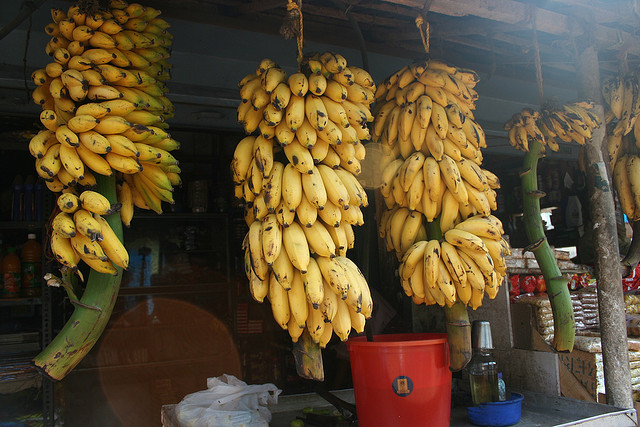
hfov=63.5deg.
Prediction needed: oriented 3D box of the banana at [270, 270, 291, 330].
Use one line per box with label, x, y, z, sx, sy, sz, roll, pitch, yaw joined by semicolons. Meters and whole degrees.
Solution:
banana;-0.190;0.408;2.490;0.084;0.273;0.078;-17;-11;38

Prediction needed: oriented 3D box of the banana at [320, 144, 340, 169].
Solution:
banana;0.050;-0.276;2.550;0.065;0.122;0.040;-1;-21;8

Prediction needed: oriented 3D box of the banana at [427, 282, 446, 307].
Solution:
banana;0.606;0.412;2.667;0.050;0.135;0.043;-36;18;-34

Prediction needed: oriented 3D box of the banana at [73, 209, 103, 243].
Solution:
banana;-1.130;0.048;2.561;0.087;0.195;0.072;-34;-15;13

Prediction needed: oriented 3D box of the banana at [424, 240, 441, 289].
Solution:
banana;0.568;0.249;2.610;0.067;0.243;0.079;-1;-27;12

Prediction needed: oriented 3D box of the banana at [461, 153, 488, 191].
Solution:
banana;0.858;-0.218;2.810;0.082;0.241;0.067;-26;-20;-23

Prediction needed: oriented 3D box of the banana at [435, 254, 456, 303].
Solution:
banana;0.632;0.318;2.664;0.069;0.244;0.084;-13;-14;-15

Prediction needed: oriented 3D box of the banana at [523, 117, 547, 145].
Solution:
banana;1.244;-0.492;3.013;0.062;0.230;0.073;-22;1;-30

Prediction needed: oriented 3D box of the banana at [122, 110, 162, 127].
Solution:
banana;-0.917;-0.495;2.667;0.246;0.068;0.087;6;18;-14

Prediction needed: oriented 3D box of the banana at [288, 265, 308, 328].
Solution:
banana;-0.106;0.392;2.480;0.075;0.288;0.094;-16;-15;34

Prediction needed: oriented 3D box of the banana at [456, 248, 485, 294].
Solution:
banana;0.787;0.298;2.693;0.076;0.262;0.085;-24;-11;-31

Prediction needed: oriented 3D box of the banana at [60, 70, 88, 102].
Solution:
banana;-1.213;-0.638;2.560;0.092;0.168;0.092;-16;32;-23

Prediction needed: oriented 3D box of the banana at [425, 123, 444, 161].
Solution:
banana;0.606;-0.378;2.746;0.065;0.206;0.065;-17;-32;6

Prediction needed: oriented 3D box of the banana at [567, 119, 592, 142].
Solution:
banana;1.483;-0.485;2.960;0.042;0.162;0.034;-55;-10;20

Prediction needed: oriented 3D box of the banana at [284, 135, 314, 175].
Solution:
banana;-0.098;-0.272;2.496;0.070;0.234;0.078;-20;-13;0

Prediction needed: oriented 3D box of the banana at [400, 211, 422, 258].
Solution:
banana;0.485;0.091;2.810;0.075;0.268;0.087;12;-20;7

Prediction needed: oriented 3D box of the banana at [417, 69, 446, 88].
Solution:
banana;0.595;-0.724;2.761;0.137;0.078;0.046;12;-19;18

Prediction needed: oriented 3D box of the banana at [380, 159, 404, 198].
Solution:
banana;0.423;-0.181;2.850;0.065;0.087;0.197;-45;-37;-1

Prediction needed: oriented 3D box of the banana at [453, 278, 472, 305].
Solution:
banana;0.723;0.401;2.663;0.049;0.168;0.060;4;24;28

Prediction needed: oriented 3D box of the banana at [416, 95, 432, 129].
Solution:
banana;0.541;-0.530;2.777;0.100;0.073;0.224;-13;-40;-4

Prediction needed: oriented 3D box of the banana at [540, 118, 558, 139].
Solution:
banana;1.325;-0.501;2.999;0.042;0.125;0.022;-26;-4;3

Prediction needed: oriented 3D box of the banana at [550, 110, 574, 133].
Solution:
banana;1.392;-0.531;2.961;0.040;0.121;0.028;-31;-2;-43

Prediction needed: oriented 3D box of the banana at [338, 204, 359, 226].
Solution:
banana;0.137;0.007;2.531;0.061;0.108;0.041;-23;5;-32

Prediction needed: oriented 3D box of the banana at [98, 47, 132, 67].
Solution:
banana;-1.039;-0.797;2.655;0.175;0.064;0.049;23;15;-19

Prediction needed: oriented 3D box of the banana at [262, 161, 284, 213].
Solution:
banana;-0.214;-0.129;2.466;0.075;0.238;0.077;2;-23;-9

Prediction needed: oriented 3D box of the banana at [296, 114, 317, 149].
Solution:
banana;-0.073;-0.382;2.488;0.054;0.204;0.071;-5;26;-4

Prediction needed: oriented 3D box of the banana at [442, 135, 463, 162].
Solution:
banana;0.705;-0.343;2.761;0.055;0.189;0.061;-35;-3;4

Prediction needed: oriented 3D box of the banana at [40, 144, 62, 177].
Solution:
banana;-1.323;-0.265;2.552;0.078;0.152;0.048;26;-43;-25

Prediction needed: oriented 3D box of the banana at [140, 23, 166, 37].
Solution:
banana;-0.893;-0.989;2.777;0.152;0.047;0.052;12;14;-5

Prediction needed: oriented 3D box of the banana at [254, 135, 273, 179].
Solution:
banana;-0.274;-0.279;2.487;0.068;0.210;0.068;20;-42;-32

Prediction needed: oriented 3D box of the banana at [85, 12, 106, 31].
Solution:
banana;-1.142;-0.975;2.661;0.099;0.073;0.064;-23;-39;26

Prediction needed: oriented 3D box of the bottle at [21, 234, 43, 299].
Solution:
bottle;-2.432;0.424;4.382;0.147;0.536;0.281;6;-12;-39

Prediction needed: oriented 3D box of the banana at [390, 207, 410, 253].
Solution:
banana;0.424;0.070;2.860;0.091;0.273;0.072;17;-7;-22

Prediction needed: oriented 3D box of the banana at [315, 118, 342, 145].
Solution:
banana;0.036;-0.393;2.534;0.072;0.148;0.051;-34;-7;-18

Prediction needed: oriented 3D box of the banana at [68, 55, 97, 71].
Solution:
banana;-1.200;-0.749;2.584;0.153;0.060;0.053;5;-3;4

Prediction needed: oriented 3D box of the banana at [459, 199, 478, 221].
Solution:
banana;0.801;-0.028;2.786;0.030;0.109;0.039;-27;-5;-46

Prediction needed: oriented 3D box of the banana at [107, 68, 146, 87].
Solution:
banana;-0.987;-0.687;2.667;0.216;0.065;0.076;2;-24;-20

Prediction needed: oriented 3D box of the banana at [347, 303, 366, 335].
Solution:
banana;0.177;0.530;2.531;0.048;0.185;0.066;-14;14;27

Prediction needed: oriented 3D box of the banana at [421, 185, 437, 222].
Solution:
banana;0.583;-0.060;2.781;0.057;0.189;0.065;-8;6;28

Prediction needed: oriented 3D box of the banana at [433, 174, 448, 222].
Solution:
banana;0.644;-0.089;2.804;0.053;0.259;0.090;3;5;-20

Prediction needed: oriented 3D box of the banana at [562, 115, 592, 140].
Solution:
banana;1.478;-0.502;2.956;0.177;0.117;0.042;1;-10;-18

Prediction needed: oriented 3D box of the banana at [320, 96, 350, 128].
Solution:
banana;0.077;-0.496;2.573;0.067;0.211;0.072;-44;-16;18

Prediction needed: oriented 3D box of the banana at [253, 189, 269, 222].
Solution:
banana;-0.286;-0.032;2.491;0.058;0.166;0.051;12;-21;-30

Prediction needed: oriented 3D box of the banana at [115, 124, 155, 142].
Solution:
banana;-0.920;-0.409;2.606;0.222;0.063;0.079;-3;-3;-2

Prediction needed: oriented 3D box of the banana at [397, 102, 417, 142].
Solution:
banana;0.470;-0.494;2.805;0.075;0.225;0.065;6;8;-44

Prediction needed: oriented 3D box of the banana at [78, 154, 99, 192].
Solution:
banana;-1.171;-0.200;2.611;0.052;0.199;0.069;-1;23;9

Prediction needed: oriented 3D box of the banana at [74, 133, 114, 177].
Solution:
banana;-1.124;-0.303;2.562;0.056;0.210;0.074;-35;5;14

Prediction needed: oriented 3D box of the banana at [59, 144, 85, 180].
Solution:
banana;-1.227;-0.260;2.546;0.117;0.175;0.062;1;-10;-18

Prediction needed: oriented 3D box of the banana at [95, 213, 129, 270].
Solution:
banana;-1.051;0.136;2.587;0.078;0.290;0.092;-29;8;-8

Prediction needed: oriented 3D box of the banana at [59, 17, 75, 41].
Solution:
banana;-1.290;-0.945;2.641;0.066;0.125;0.039;2;2;23

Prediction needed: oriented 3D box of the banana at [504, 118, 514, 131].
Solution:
banana;1.145;-0.557;3.160;0.067;0.088;0.028;3;-13;-16

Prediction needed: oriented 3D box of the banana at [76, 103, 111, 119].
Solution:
banana;-1.114;-0.508;2.554;0.196;0.071;0.066;-1;5;-1

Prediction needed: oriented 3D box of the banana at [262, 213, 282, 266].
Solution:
banana;-0.228;0.117;2.467;0.073;0.231;0.075;-13;-32;28
